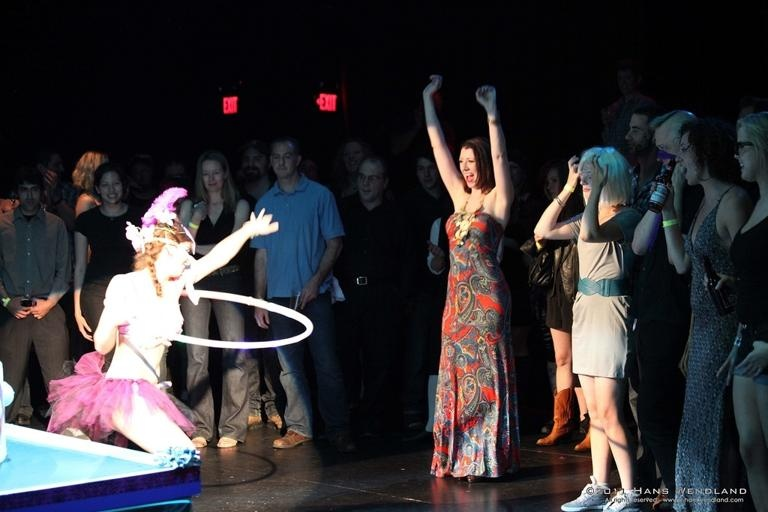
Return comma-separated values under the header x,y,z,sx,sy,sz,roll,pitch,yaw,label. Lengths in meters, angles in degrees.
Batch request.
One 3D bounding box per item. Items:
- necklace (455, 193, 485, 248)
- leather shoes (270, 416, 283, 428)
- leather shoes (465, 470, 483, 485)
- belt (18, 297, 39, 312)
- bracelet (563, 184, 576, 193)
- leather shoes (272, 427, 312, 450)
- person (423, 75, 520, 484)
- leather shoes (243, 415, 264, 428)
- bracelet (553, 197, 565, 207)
x,y,z,sx,sy,sz,roll,pitch,yaw,label
0.631,-0.242,5.547,0.267,0.422,0.047,11,-4,13,necklace
-1.062,1.648,7.060,0.124,0.114,0.095,2,10,-22,leather shoes
0.696,1.677,5.427,0.132,0.092,0.111,0,3,6,leather shoes
-3.450,0.472,6.873,0.129,0.066,0.215,-1,1,-10,belt
1.371,-0.502,5.274,0.081,0.055,0.082,-6,-3,36,bracelet
-0.832,1.655,6.420,0.342,0.168,0.136,4,0,-24,leather shoes
0.689,0.138,5.545,0.726,3.148,0.546,1,4,15,person
-1.271,1.597,6.855,0.216,0.131,0.295,1,1,-10,leather shoes
1.311,-0.402,5.292,0.057,0.025,0.070,46,5,29,bracelet
